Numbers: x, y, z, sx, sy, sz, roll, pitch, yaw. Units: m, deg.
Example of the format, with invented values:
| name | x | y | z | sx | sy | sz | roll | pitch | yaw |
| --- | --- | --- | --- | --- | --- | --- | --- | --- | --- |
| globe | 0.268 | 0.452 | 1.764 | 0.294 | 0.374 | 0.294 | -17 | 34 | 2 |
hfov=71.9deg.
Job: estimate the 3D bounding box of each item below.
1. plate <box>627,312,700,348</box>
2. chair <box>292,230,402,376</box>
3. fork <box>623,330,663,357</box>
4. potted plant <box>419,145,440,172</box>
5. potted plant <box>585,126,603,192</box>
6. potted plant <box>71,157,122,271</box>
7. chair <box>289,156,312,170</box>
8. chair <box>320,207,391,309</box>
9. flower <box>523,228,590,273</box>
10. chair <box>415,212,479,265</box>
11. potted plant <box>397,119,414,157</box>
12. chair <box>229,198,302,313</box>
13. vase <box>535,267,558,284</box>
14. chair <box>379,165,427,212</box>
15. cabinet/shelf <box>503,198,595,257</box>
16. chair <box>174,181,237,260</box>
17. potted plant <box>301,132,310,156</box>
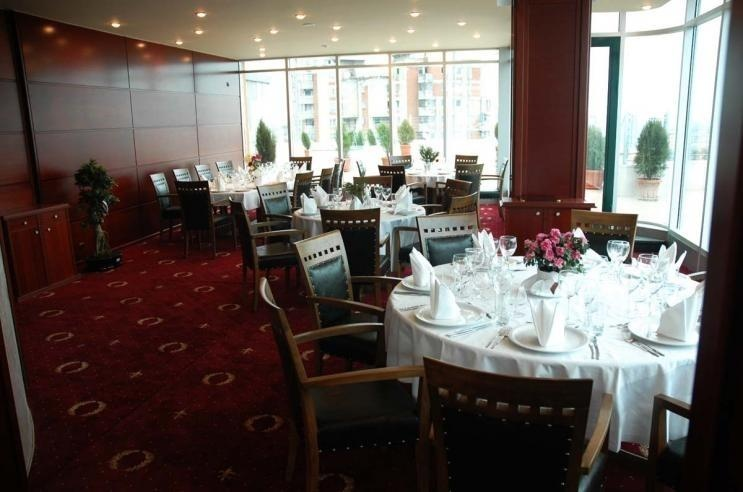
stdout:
| name | x | y | z | sx | sy | sz | roll | pitch | yaw |
| --- | --- | --- | --- | --- | --- | --- | --- | --- | --- |
| plate | 1.484 | 0.430 | 2.596 | 0.274 | 0.038 | 0.287 | -4 | 16 | -5 |
| chair | -0.076 | 0.482 | 3.771 | 0.827 | 1.071 | 0.857 | -9 | 15 | -38 |
| fork | 1.365 | 0.499 | 2.597 | 0.044 | 0.015 | 0.187 | -13 | 16 | -11 |
| potted plant | 1.119 | -1.720 | 9.954 | 0.303 | 0.424 | 1.111 | -2 | 16 | 6 |
| potted plant | 3.580 | -1.410 | 8.238 | 0.104 | 1.014 | 0.306 | -11 | 17 | -27 |
| potted plant | -3.864 | -0.478 | 7.263 | 0.554 | 1.490 | 1.032 | -11 | 17 | -27 |
| chair | -1.419 | -1.734 | 10.522 | 0.350 | 0.333 | 0.431 | -2 | 9 | -8 |
| chair | -0.127 | 0.108 | 5.140 | 0.602 | 1.132 | 0.764 | -2 | 15 | 7 |
| flower | 1.129 | -0.006 | 3.156 | 0.311 | 0.227 | 0.289 | -7 | 24 | 10 |
| chair | 0.619 | -0.091 | 4.555 | 0.405 | 0.719 | 0.482 | 0 | 12 | -4 |
| potted plant | 0.883 | -2.583 | 12.483 | 0.438 | 0.835 | 0.456 | 6 | 14 | 40 |
| chair | -1.159 | 0.013 | 5.678 | 0.708 | 1.030 | 0.652 | -6 | 13 | -29 |
| vase | 1.082 | 0.173 | 3.141 | 0.096 | 0.074 | 0.096 | -19 | 23 | -35 |
| chair | 0.613 | -1.031 | 8.979 | 0.751 | 1.130 | 0.655 | -12 | 16 | -38 |
| cabinet/shelf | 1.873 | -0.024 | 5.816 | 0.929 | 0.966 | 0.413 | 0 | 8 | -8 |
| chair | -2.592 | -0.440 | 7.784 | 0.596 | 1.075 | 0.735 | -2 | 9 | -1 |
| potted plant | -1.636 | -2.589 | 12.909 | 0.240 | 0.562 | 0.138 | -4 | 15 | -3 |
